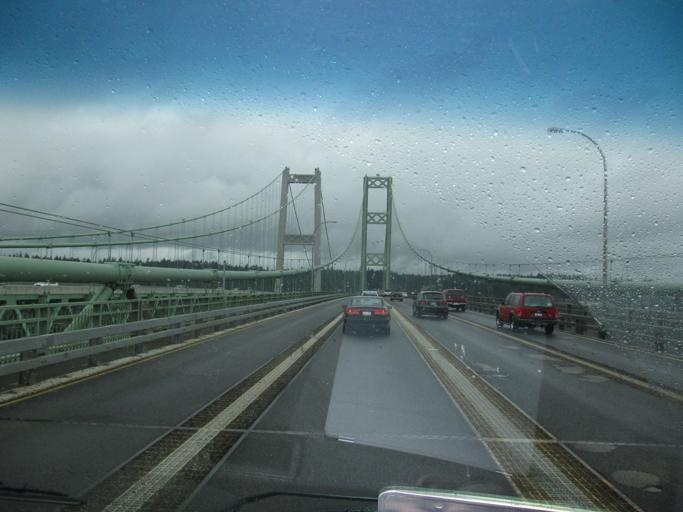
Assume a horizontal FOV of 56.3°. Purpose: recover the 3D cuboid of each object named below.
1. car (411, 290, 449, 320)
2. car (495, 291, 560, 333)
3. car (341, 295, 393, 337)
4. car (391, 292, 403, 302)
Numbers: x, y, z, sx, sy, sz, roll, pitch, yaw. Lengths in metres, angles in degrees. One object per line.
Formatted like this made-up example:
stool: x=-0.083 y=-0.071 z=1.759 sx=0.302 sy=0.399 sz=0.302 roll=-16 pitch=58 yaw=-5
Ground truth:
car: x=4.406 y=2.515 z=32.009 sx=1.289 sy=1.413 sz=2.613 roll=1 pitch=2 yaw=-15
car: x=7.197 y=2.108 z=24.832 sx=1.487 sy=1.143 sz=2.420 roll=1 pitch=2 yaw=1
car: x=0.814 y=1.990 z=20.479 sx=1.248 sy=0.784 sz=2.529 roll=0 pitch=-12 yaw=4
car: x=6.710 y=5.086 z=78.018 sx=1.040 sy=0.650 sz=2.131 roll=1 pitch=2 yaw=7
